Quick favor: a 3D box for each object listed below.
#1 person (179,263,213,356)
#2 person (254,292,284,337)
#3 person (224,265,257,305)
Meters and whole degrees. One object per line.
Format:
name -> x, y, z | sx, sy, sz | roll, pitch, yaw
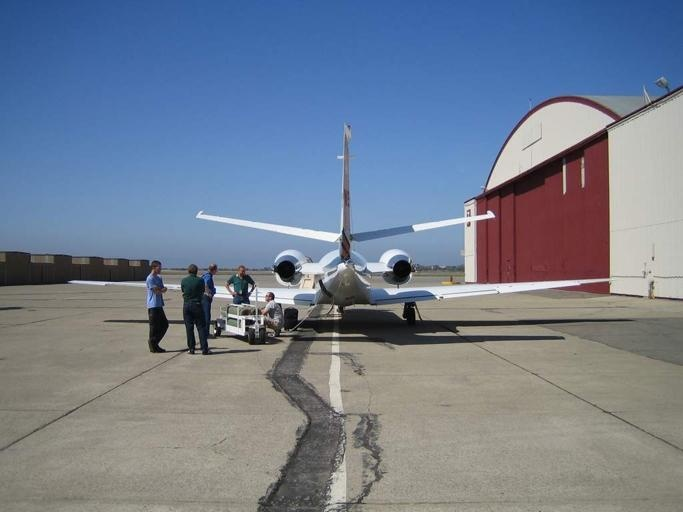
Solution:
person -> -3.191, 1.133, 12.075 | 0.505, 2.064, 1.313 | -3, 9, -16
person -> -1.829, 1.547, 14.294 | 0.569, 1.123, 1.086 | 1, 9, 7
person -> -2.663, 1.030, 14.746 | 0.688, 1.633, 0.407 | -2, 19, -10
